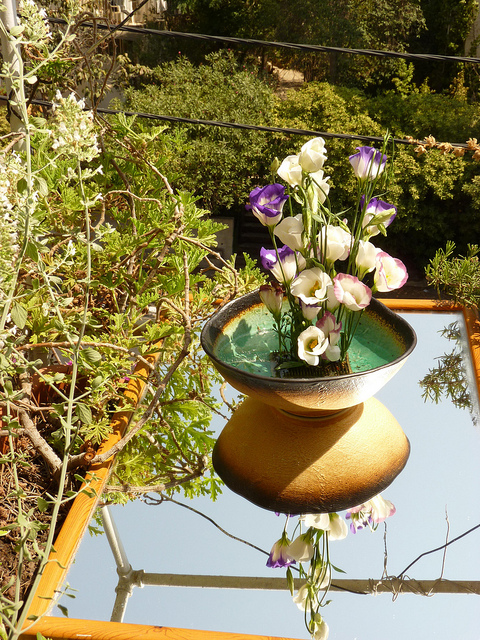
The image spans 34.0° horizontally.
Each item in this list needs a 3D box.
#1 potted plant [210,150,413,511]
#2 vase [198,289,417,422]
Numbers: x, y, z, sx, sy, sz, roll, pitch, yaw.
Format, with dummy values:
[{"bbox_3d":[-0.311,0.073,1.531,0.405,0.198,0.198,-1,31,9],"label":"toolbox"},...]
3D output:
[{"bbox_3d":[0.101,0.012,0.954,0.267,0.395,0.230,-1,26,22],"label":"potted plant"},{"bbox_3d":[0.091,0.048,0.965,0.242,0.088,0.250,10,34,16],"label":"vase"}]
